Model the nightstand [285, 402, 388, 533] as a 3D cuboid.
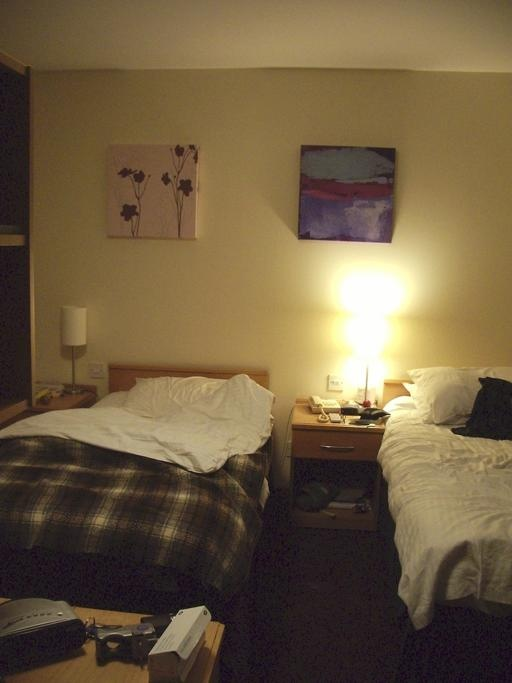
[{"bbox_3d":[0.401,0.640,3.156,0.562,0.725,0.538,1,6,5],"label":"nightstand"}]
